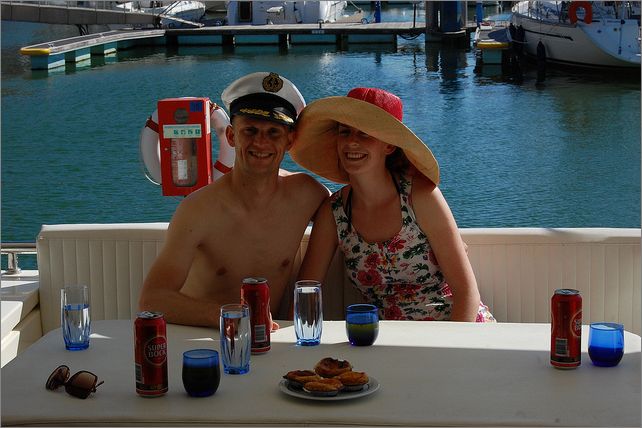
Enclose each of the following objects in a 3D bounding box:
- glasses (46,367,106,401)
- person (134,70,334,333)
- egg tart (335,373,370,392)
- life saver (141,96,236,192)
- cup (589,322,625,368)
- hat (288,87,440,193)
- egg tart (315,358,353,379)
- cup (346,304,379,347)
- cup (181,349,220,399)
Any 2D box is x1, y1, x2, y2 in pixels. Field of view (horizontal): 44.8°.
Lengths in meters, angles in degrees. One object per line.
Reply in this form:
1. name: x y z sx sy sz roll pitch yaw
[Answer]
1. glasses: -1.037 0.700 3.264 0.257 0.111 0.124 1 12 16
2. person: -0.463 -0.078 4.010 0.622 1.264 1.053 4 13 28
3. egg tart: 0.137 0.685 3.204 0.090 0.035 0.085 2 8 17
4. life saver: -1.026 -0.538 5.858 0.751 0.849 0.218 -2 16 14
5. cup: 1.239 0.568 3.421 0.162 0.182 0.166 -2 8 0
6. hat: 0.272 -0.473 4.310 0.692 0.399 0.719 7 -17 12
7. egg tart: 0.051 0.649 3.252 0.095 0.037 0.086 0 19 7
8. cup: 0.190 0.511 3.567 0.195 0.163 0.203 0 5 0
9. cup: -0.507 0.668 3.251 0.164 0.177 0.163 -4 1 0
